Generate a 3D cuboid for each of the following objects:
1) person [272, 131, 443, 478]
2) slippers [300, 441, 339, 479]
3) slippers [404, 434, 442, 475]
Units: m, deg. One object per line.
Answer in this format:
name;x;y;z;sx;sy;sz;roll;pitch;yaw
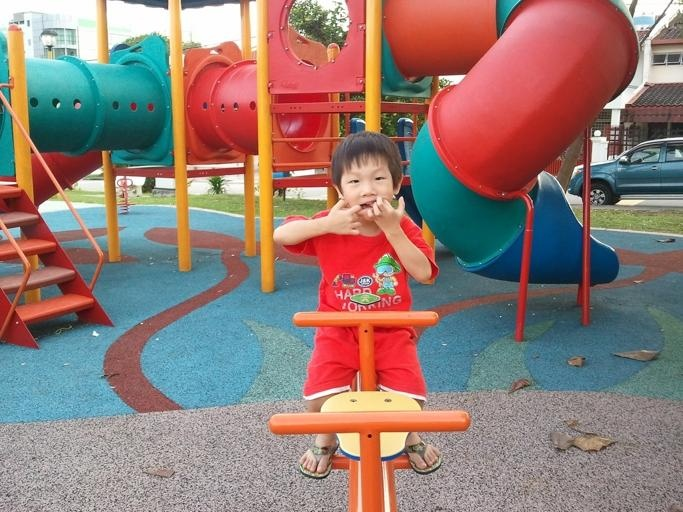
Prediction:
person;0.086;0.199;2.131;0.810;1.300;0.634;-3;3;-5
slippers;-0.087;0.825;2.041;0.147;0.170;0.132;0;19;0
slippers;0.314;0.763;2.059;0.130;0.057;0.239;-7;17;-13
